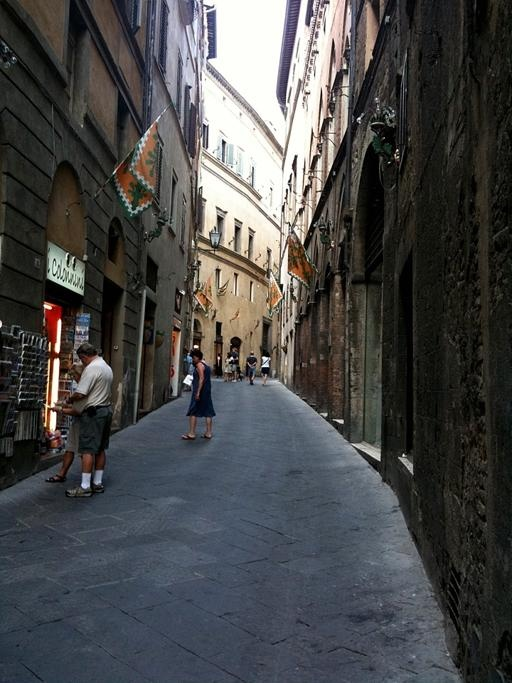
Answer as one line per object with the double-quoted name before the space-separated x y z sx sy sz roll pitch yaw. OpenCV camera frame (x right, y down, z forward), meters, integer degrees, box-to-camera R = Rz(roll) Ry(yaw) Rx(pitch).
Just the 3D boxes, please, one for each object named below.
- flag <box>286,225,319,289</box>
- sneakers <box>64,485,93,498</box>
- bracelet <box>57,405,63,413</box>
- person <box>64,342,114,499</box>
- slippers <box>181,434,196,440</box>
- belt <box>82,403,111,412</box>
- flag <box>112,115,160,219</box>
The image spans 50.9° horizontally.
"flag" 1.388 -2.479 17.110 0.774 1.639 2.168 -1 -8 14
"sneakers" -1.945 1.658 5.896 0.247 0.212 0.135 10 -9 -12
"bracelet" -2.206 0.769 6.064 0.037 0.082 0.024 0 -4 0
"person" -1.904 0.884 6.193 0.466 1.729 0.564 2 -6 -21
"slippers" -1.336 1.920 10.674 0.255 0.103 0.214 2 -8 -8
"belt" -1.864 0.790 6.281 0.317 0.111 0.149 5 -9 -27
"flag" -2.241 -3.225 10.052 0.777 1.645 0.689 1 -6 -5
